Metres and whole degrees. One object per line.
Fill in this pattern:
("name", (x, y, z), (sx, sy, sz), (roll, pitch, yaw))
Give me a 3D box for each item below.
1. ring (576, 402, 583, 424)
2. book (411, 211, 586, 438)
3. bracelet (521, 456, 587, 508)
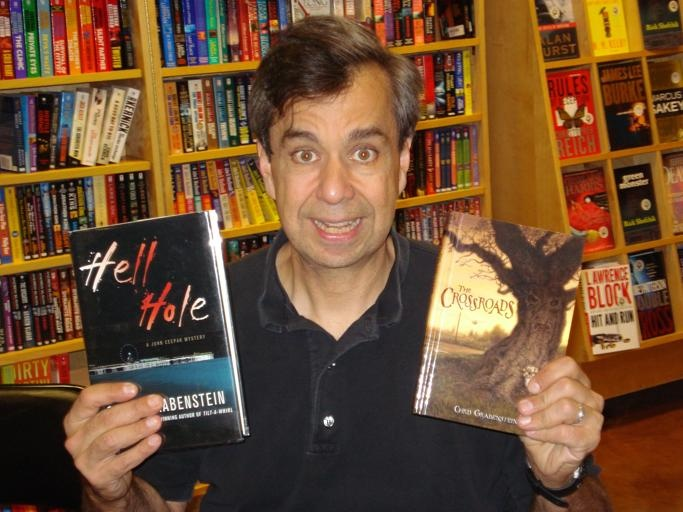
("ring", (0.567, 0.374, 1.441), (0.014, 0.034, 0.028), (8, 3, 15))
("book", (0.387, 0.156, 1.500), (0.407, 0.535, 0.194), (-3, 6, 20))
("bracelet", (0.547, 0.573, 1.547), (0.128, 0.039, 0.112), (7, 40, 25))
